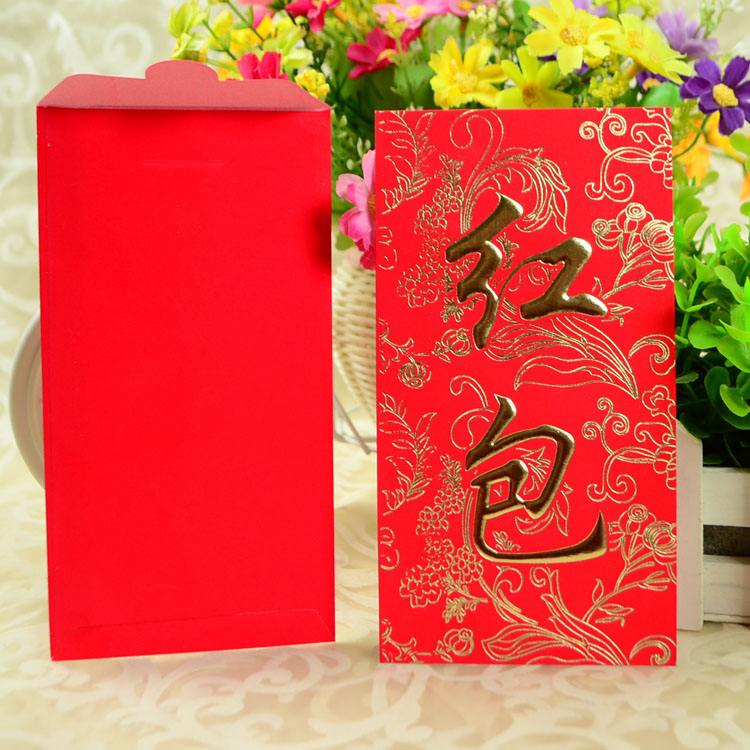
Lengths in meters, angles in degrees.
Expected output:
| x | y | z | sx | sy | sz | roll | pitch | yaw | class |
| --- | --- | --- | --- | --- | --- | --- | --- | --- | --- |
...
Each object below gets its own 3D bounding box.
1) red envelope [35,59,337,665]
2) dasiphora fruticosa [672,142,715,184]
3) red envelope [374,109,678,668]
| x | y | z | sx | sy | sz | roll | pitch | yaw | class |
| --- | --- | --- | --- | --- | --- | --- | --- | --- | --- |
| -0.146 | -0.012 | 0.597 | 0.231 | 0.455 | 0.093 | -2 | 13 | -3 | red envelope |
| 0.324 | -0.218 | 0.795 | 0.051 | 0.046 | 0.017 | -25 | 29 | -25 | dasiphora fruticosa |
| 0.114 | 0.010 | 0.585 | 0.227 | 0.419 | 0.097 | -1 | 13 | 2 | red envelope |
